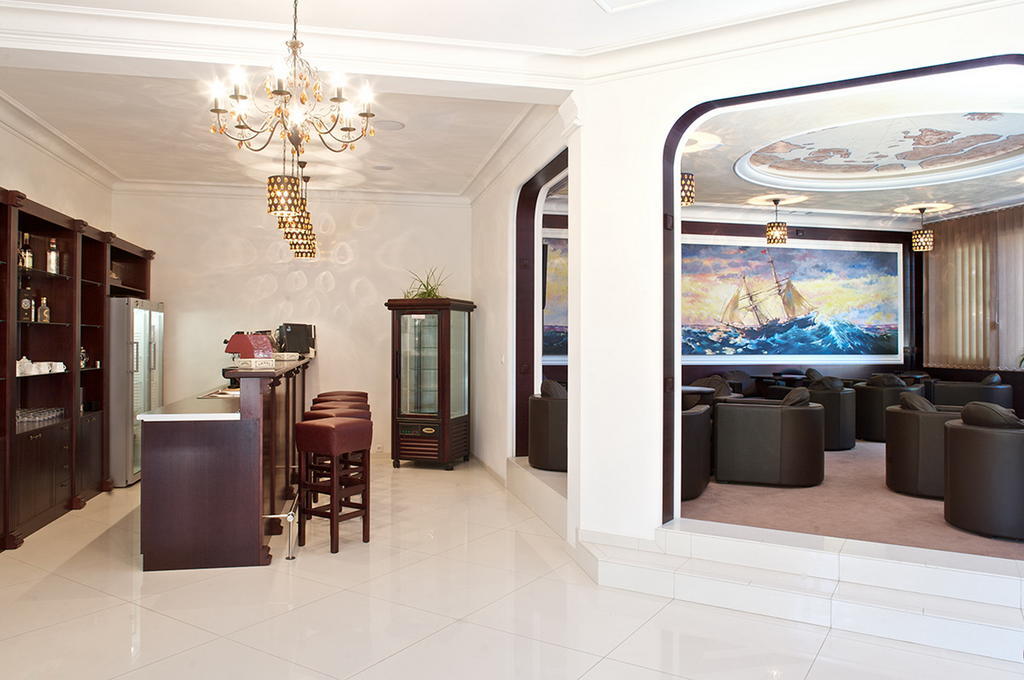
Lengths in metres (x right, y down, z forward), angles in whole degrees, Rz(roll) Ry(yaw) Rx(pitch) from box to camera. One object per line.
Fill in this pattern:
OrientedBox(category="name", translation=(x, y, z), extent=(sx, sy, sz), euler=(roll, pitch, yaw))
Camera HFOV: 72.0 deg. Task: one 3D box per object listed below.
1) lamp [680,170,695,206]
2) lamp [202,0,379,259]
OrientedBox(category="lamp", translation=(2.094, -1.804, 8.430), extent=(0.149, 0.359, 0.499), euler=(2, 9, 12))
OrientedBox(category="lamp", translation=(-2.451, -2.189, 7.507), extent=(1.402, 2.170, 1.397), euler=(9, 11, 38))
